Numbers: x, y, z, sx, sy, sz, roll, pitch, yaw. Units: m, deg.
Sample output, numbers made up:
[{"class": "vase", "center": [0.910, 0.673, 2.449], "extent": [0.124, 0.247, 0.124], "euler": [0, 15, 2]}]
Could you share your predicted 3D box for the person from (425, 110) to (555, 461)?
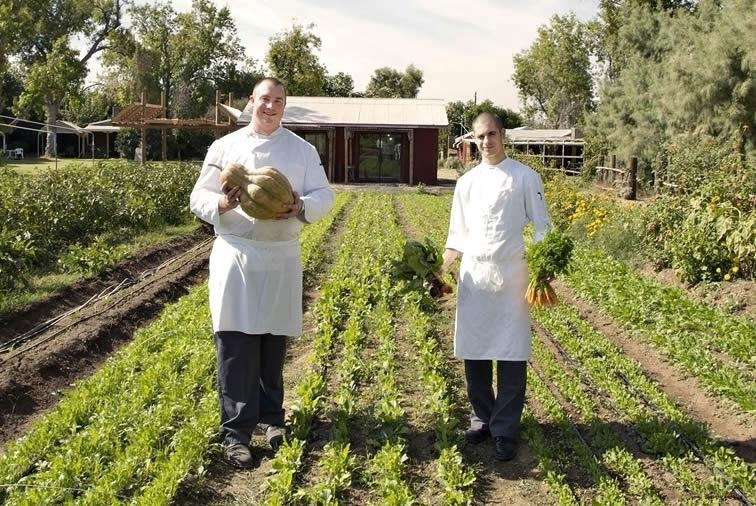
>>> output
[{"class": "person", "center": [1.047, 0.264, 5.056], "extent": [0.915, 3.043, 0.641], "euler": [11, 15, 36]}]

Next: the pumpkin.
[{"class": "pumpkin", "center": [-1.078, -0.533, 4.705], "extent": [0.651, 0.439, 0.265], "euler": [5, 13, 12]}]
